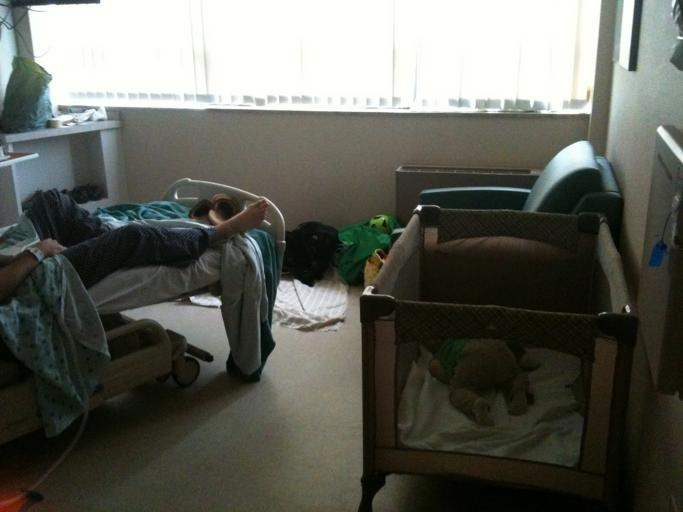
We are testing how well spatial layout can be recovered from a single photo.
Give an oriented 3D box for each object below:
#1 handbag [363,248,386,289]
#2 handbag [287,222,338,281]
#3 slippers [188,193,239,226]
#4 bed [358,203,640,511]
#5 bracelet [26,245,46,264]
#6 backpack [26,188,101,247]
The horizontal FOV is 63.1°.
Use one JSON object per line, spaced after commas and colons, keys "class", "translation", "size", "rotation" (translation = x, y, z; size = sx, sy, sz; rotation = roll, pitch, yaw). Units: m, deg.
{"class": "handbag", "translation": [0.175, 0.061, 3.436], "size": [0.062, 0.247, 0.128], "rotation": [25, -14, -27]}
{"class": "handbag", "translation": [-0.234, -0.021, 3.820], "size": [0.329, 0.271, 0.423], "rotation": [10, 21, 29]}
{"class": "slippers", "translation": [-0.681, -0.254, 3.008], "size": [0.265, 0.093, 0.159], "rotation": [-29, 62, -21]}
{"class": "bed", "translation": [0.582, 0.331, 2.026], "size": [0.867, 0.808, 0.977], "rotation": [4, 19, 14]}
{"class": "bracelet", "translation": [-1.203, -0.008, 2.182], "size": [0.059, 0.031, 0.078], "rotation": [41, -9, -8]}
{"class": "backpack", "translation": [-1.306, -0.154, 2.592], "size": [0.256, 0.306, 0.118], "rotation": [-51, 23, -21]}
